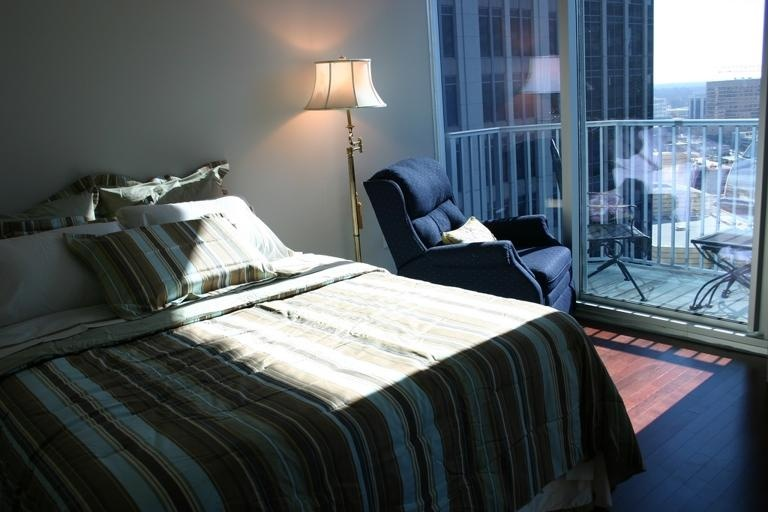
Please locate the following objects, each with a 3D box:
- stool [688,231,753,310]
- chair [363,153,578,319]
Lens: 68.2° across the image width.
[{"bbox_3d":[2.308,0.124,3.742,0.492,0.509,0.545,0,-7,27],"label":"stool"},{"bbox_3d":[0.663,-0.071,4.145,1.393,1.111,1.048,7,20,17],"label":"chair"}]
